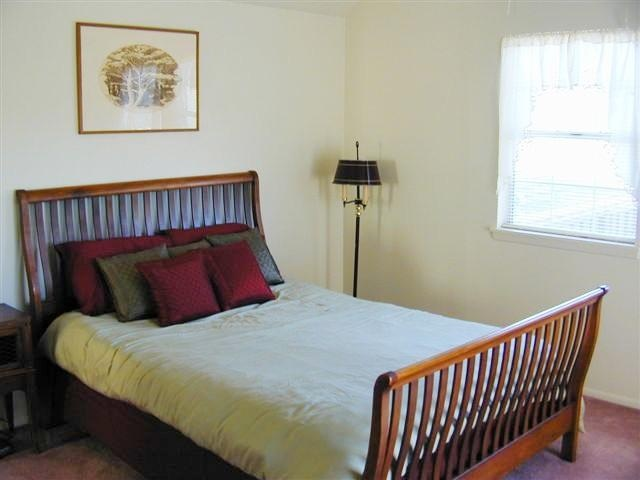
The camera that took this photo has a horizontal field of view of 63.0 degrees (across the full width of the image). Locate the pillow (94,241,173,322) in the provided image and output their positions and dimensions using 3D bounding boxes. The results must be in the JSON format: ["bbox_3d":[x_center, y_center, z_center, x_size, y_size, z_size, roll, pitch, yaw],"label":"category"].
[{"bbox_3d":[-1.232,0.280,3.410,0.122,0.434,0.410,-18,-5,44],"label":"pillow"}]

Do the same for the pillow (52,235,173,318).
[{"bbox_3d":[-1.519,0.223,3.532,0.192,0.457,0.689,-15,1,37],"label":"pillow"}]

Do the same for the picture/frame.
[{"bbox_3d":[-1.362,-1.194,3.804,0.780,0.689,0.016,-12,20,-43],"label":"picture/frame"}]
